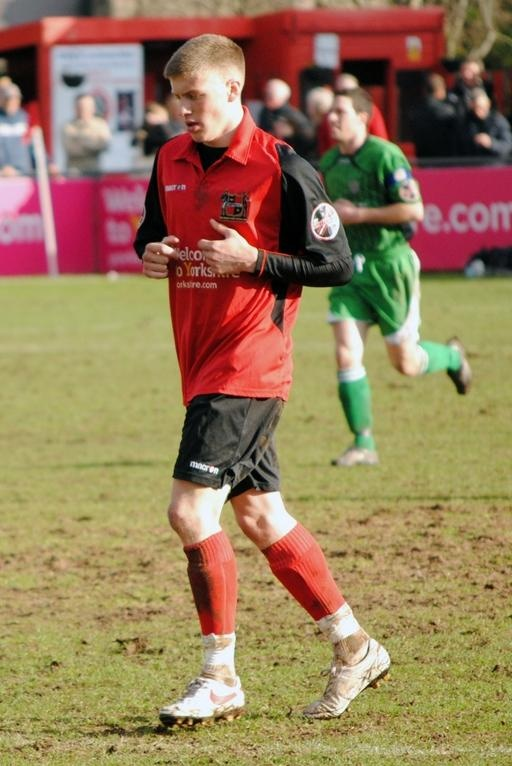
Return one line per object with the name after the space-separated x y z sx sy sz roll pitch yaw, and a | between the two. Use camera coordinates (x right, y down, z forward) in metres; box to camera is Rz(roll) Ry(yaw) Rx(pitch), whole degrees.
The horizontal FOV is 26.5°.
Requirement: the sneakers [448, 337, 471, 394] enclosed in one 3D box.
1.063 -0.084 5.603 0.107 0.330 0.095 -12 42 15 | sneakers

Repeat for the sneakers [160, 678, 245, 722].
-0.138 0.871 3.010 0.259 0.101 0.089 -3 -5 -33 | sneakers

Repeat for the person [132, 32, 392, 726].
0.008 -0.034 3.108 0.625 1.910 0.729 -4 12 -5 | person

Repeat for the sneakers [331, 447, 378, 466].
0.548 0.409 5.954 0.290 0.100 0.090 0 -3 -14 | sneakers
